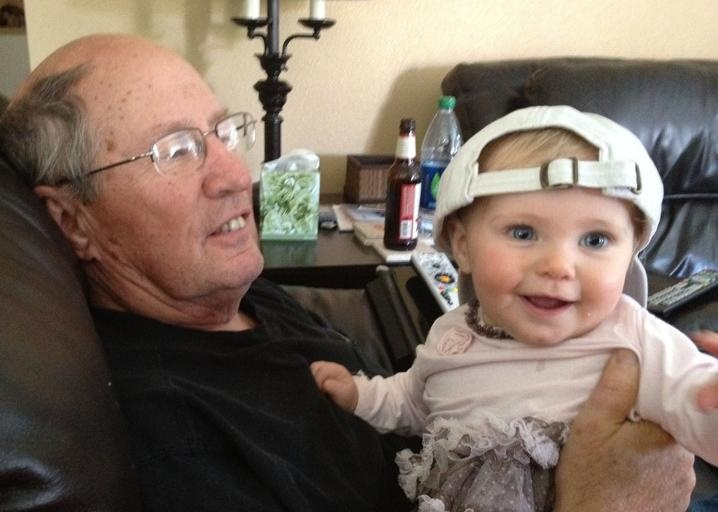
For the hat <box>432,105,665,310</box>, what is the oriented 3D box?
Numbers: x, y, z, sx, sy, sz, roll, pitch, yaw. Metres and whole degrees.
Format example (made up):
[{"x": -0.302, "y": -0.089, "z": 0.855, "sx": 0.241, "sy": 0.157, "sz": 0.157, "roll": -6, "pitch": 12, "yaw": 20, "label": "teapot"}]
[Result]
[{"x": 0.400, "y": -0.103, "z": 1.209, "sx": 0.397, "sy": 0.372, "sz": 0.482, "roll": 0, "pitch": 6, "yaw": 36, "label": "hat"}]

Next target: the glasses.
[{"x": -0.315, "y": -0.208, "z": 1.196, "sx": 0.196, "sy": 0.052, "sz": 0.192, "roll": -11, "pitch": 16, "yaw": 29, "label": "glasses"}]

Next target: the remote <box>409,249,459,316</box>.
[{"x": 0.217, "y": 0.068, "z": 1.612, "sx": 0.075, "sy": 0.020, "sz": 0.222, "roll": -14, "pitch": 52, "yaw": -15, "label": "remote"}]

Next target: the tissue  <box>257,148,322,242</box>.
[{"x": -0.206, "y": -0.135, "z": 1.957, "sx": 0.170, "sy": 0.293, "sz": 0.218, "roll": 3, "pitch": -22, "yaw": -6, "label": "tissue "}]
